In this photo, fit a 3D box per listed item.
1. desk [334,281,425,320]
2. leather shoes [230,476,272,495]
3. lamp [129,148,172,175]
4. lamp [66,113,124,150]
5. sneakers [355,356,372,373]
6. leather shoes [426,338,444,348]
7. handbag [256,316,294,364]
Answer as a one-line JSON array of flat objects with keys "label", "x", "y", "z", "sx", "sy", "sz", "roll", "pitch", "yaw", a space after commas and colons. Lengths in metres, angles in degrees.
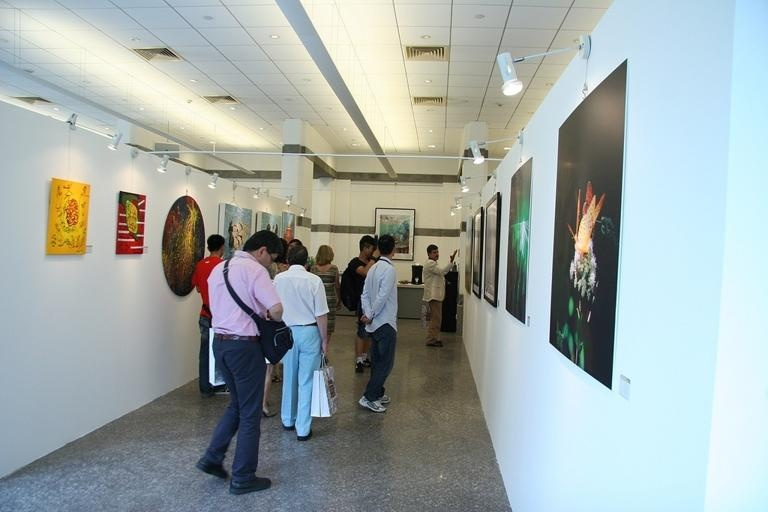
[{"label": "desk", "x": 0.013, "y": 0.738, "z": 8.527, "sx": 1.254, "sy": 0.887, "sz": 0.704, "roll": -1, "pitch": 5, "yaw": 4}, {"label": "leather shoes", "x": -1.067, "y": 1.842, "z": 4.195, "sx": 0.343, "sy": 0.155, "sz": 0.128, "roll": 0, "pitch": 1, "yaw": -25}, {"label": "lamp", "x": -2.627, "y": -1.119, "z": 5.894, "sx": 0.532, "sy": 0.346, "sz": 0.211, "roll": 6, "pitch": -6, "yaw": -33}, {"label": "lamp", "x": -3.088, "y": -1.320, "z": 5.603, "sx": 0.460, "sy": 0.361, "sz": 1.880, "roll": 1, "pitch": 4, "yaw": -26}, {"label": "sneakers", "x": -0.313, "y": 1.621, "z": 7.766, "sx": 0.139, "sy": 0.148, "sz": 0.338, "roll": 2, "pitch": 3, "yaw": 2}, {"label": "leather shoes", "x": 0.964, "y": 1.641, "z": 9.784, "sx": 0.366, "sy": 0.265, "sz": 0.128, "roll": -2, "pitch": -4, "yaw": 6}, {"label": "handbag", "x": -0.936, "y": 0.688, "z": 4.409, "sx": 0.318, "sy": 0.407, "sz": 0.322, "roll": 1, "pitch": 7, "yaw": -15}]
